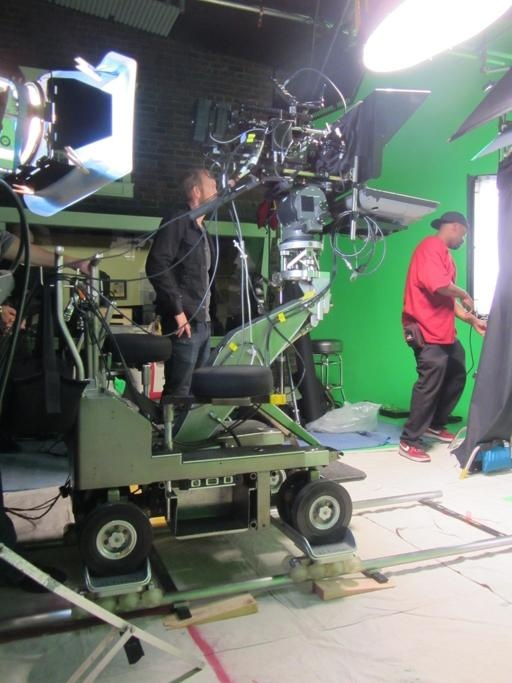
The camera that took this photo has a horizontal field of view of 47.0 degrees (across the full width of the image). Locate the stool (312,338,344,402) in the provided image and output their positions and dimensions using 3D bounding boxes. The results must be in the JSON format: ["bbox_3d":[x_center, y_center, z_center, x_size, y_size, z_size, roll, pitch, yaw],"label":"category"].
[{"bbox_3d":[0.646,0.273,5.585,0.459,0.563,0.433,-2,0,12],"label":"stool"}]

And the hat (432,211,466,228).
[{"bbox_3d":[1.426,-0.903,4.370,0.224,0.103,0.137,7,2,6],"label":"hat"}]

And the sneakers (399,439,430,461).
[{"bbox_3d":[1.058,0.747,3.957,0.086,0.082,0.219,1,-3,-20],"label":"sneakers"}]

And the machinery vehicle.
[{"bbox_3d":[-0.226,0.226,2.134,1.025,1.021,0.586,-1,3,-29],"label":"machinery vehicle"}]

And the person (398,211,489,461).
[{"bbox_3d":[1.295,-0.090,4.210,0.562,1.729,0.946,2,3,33],"label":"person"}]

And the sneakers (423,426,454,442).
[{"bbox_3d":[1.415,0.722,4.552,0.203,0.071,0.072,13,10,16],"label":"sneakers"}]
